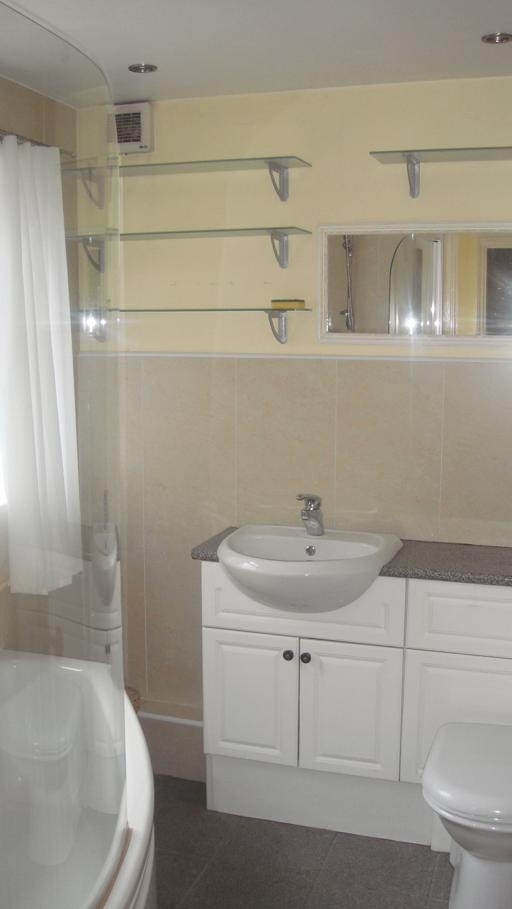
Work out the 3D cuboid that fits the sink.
[{"bbox_3d":[0.169,0.375,2.260,0.568,0.227,0.472,0,1,13],"label":"sink"}]
